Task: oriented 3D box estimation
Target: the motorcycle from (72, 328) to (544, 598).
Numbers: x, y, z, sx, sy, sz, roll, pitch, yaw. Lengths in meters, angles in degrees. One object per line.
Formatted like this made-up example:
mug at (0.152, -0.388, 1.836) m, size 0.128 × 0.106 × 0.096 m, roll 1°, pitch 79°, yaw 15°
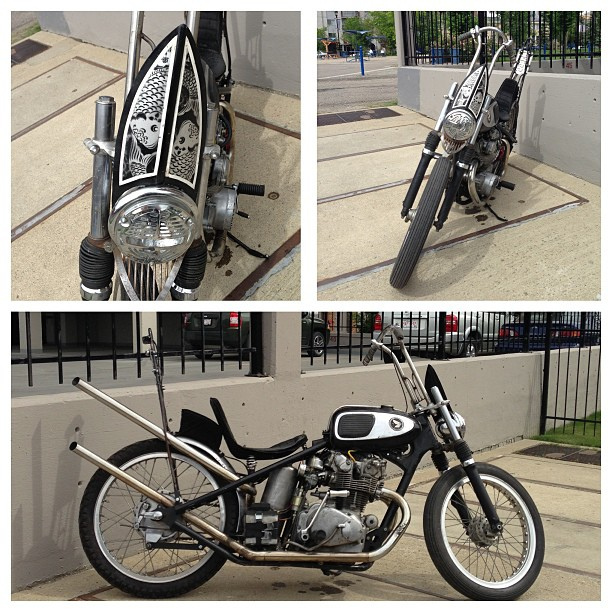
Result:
motorcycle at (0.112, 0.966, 3.234) m, size 2.543 × 1.745 × 1.211 m, roll -1°, pitch -19°, yaw -4°
